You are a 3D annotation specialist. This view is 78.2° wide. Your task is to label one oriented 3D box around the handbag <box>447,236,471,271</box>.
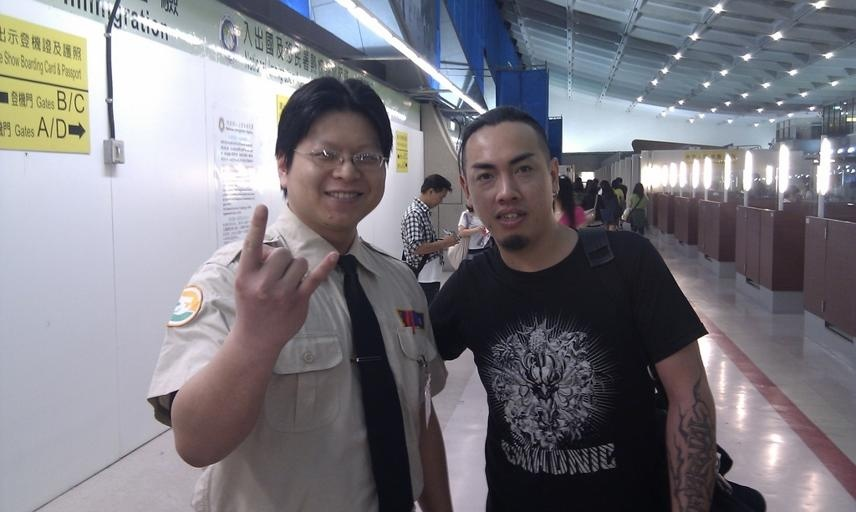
[{"bbox_3d":[0.422,-0.034,6.715,0.151,0.347,0.196,3,-9,22],"label":"handbag"}]
